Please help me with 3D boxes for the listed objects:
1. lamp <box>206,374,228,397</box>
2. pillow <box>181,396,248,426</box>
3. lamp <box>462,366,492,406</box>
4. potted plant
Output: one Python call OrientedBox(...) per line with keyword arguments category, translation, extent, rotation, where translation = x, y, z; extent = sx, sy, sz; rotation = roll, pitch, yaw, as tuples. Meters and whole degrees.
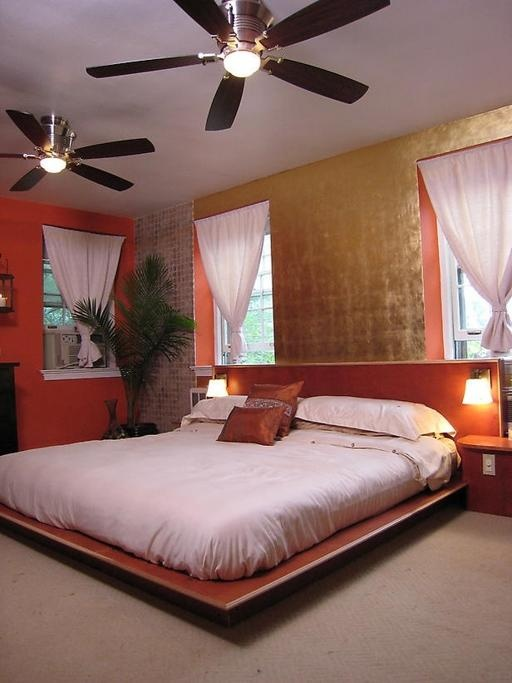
OrientedBox(category="lamp", translation=(-0.358, 0.416, 4.624), extent=(0.175, 0.163, 0.174), rotation=(0, -2, 6))
OrientedBox(category="pillow", translation=(-0.363, 0.568, 4.191), extent=(0.350, 0.091, 0.351), rotation=(-15, 1, 30))
OrientedBox(category="lamp", translation=(1.419, 0.284, 3.218), extent=(0.174, 0.281, 0.243), rotation=(7, -8, -41))
OrientedBox(category="potted plant", translation=(-1.239, -0.006, 5.415), extent=(1.251, 2.007, 0.945), rotation=(-3, -5, 24))
